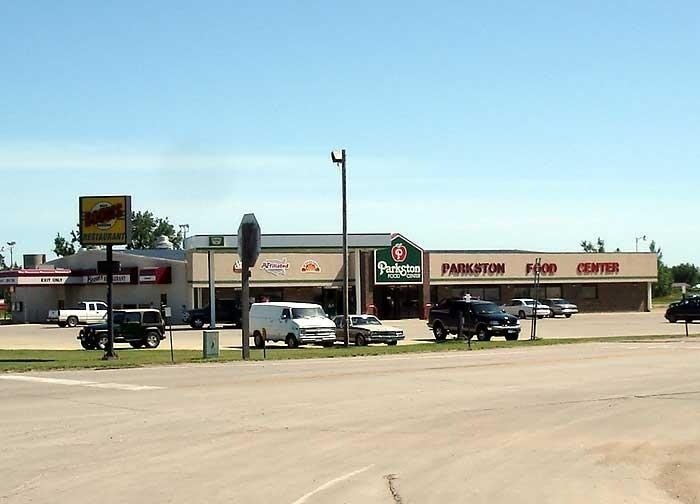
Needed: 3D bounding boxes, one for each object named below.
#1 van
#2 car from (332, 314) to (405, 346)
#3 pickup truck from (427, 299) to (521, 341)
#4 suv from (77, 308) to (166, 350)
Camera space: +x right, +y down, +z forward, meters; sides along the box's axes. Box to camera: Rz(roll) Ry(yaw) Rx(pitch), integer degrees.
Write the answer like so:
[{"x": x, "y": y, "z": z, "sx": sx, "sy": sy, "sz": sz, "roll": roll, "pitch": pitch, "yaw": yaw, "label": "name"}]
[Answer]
[{"x": -2.496, "y": 3.157, "z": 41.471, "sx": 1.943, "sy": 1.537, "sz": 3.286, "roll": 3, "pitch": -5, "yaw": -39, "label": "van"}, {"x": 0.882, "y": 3.451, "z": 41.698, "sx": 1.425, "sy": 1.225, "sz": 3.836, "roll": 1, "pitch": -3, "yaw": -33, "label": "car"}, {"x": 5.759, "y": 3.209, "z": 43.983, "sx": 2.276, "sy": 1.887, "sz": 4.718, "roll": 0, "pitch": -1, "yaw": -35, "label": "pickup truck"}, {"x": -9.878, "y": 3.450, "z": 41.828, "sx": 3.467, "sy": 1.723, "sz": 1.672, "roll": 1, "pitch": 0, "yaw": -21, "label": "suv"}]
